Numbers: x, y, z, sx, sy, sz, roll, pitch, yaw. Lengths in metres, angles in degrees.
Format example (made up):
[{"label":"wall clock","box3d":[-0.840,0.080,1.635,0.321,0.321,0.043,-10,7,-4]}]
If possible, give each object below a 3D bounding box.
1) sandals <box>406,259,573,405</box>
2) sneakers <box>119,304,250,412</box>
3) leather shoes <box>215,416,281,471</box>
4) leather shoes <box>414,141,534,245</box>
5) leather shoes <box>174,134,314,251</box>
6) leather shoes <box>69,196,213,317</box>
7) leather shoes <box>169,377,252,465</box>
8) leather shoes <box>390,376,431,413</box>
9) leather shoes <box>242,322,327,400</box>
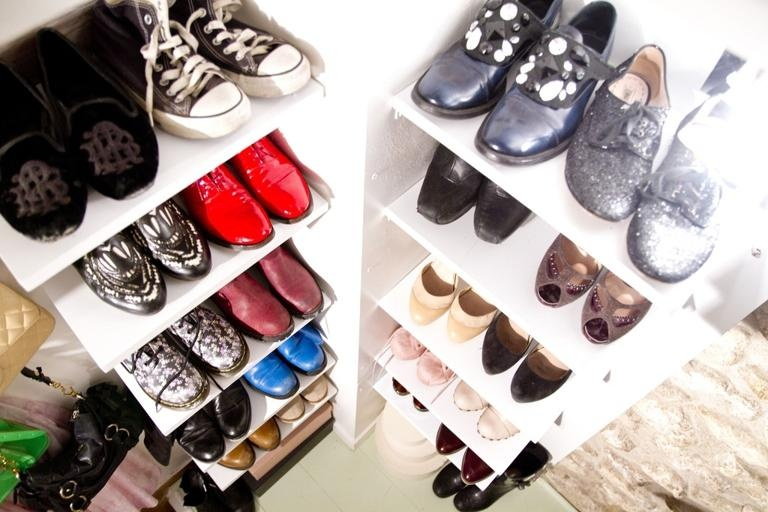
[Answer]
[{"label":"sandals","box3d":[0.279,0.208,1.566,0.492,0.135,0.253,39,95,11]},{"label":"sneakers","box3d":[-0.497,0.258,1.398,0.287,0.104,0.219,41,74,6]},{"label":"leather shoes","box3d":[-0.447,0.625,1.894,0.101,0.104,0.268,43,67,-9]},{"label":"leather shoes","box3d":[0.206,-0.158,1.320,0.285,0.170,0.119,33,17,4]},{"label":"leather shoes","box3d":[-0.310,-0.136,1.256,0.217,0.109,0.303,-42,94,-17]},{"label":"leather shoes","box3d":[-0.497,0.010,1.153,0.267,0.094,0.202,46,70,-11]},{"label":"leather shoes","box3d":[-0.521,0.491,1.710,0.165,0.089,0.272,-42,86,-8]},{"label":"leather shoes","box3d":[0.101,0.471,1.942,0.139,0.089,0.037,43,38,1]},{"label":"leather shoes","box3d":[-0.310,0.365,1.729,0.178,0.099,0.271,38,55,-2]}]
